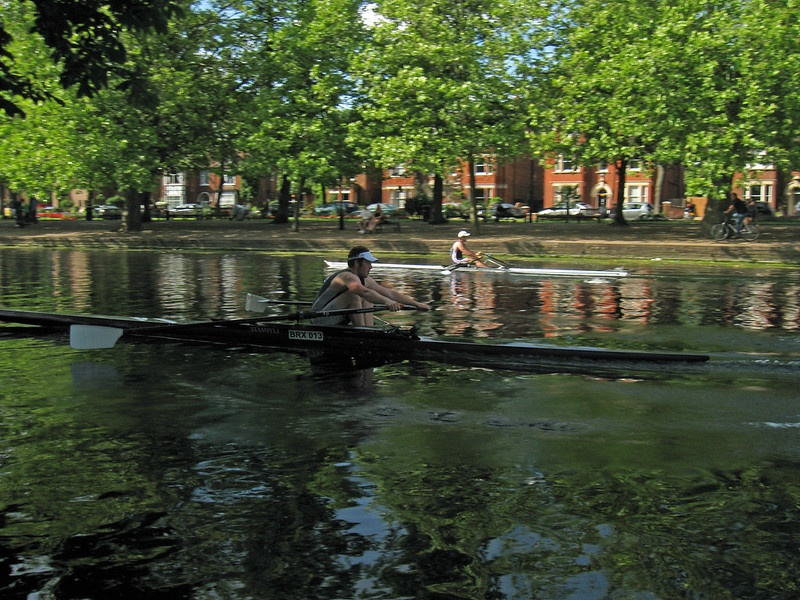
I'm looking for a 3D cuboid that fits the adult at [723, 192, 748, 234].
[{"bbox_3d":[12.395,-3.223,32.210,0.804,1.350,1.973,1,14,19],"label":"adult"}]

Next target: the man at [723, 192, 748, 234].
[{"bbox_3d":[12.399,-3.225,32.221,0.804,1.350,1.996,1,14,19],"label":"man"}]

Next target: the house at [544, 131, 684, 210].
[{"bbox_3d":[20.383,-10.332,76.188,7.834,4.981,11.908,-11,14,-40],"label":"house"}]

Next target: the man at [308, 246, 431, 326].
[{"bbox_3d":[-0.644,-0.159,13.186,1.534,1.265,0.725,0,18,12],"label":"man"}]

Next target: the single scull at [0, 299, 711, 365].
[{"bbox_3d":[-1.240,0.453,13.631,11.262,0.836,1.349,1,13,11],"label":"single scull"}]

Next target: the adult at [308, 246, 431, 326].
[{"bbox_3d":[-0.522,-0.046,13.349,1.699,0.878,0.963,6,5,28],"label":"adult"}]
